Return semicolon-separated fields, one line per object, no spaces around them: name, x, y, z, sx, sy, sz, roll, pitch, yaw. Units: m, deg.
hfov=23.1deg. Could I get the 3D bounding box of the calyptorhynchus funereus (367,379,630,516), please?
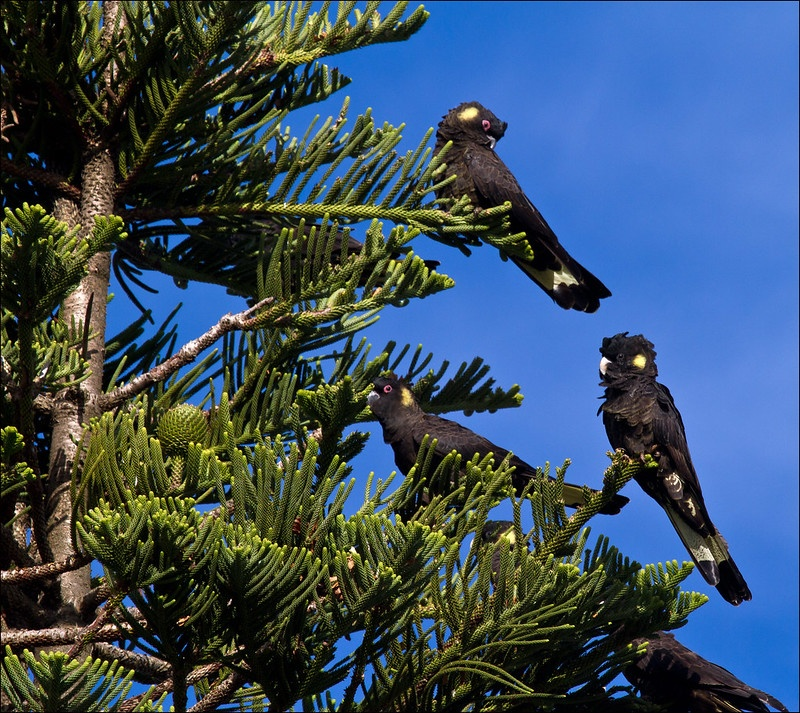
calyptorhynchus funereus;0.354;0.398;8.818;1.132;0.601;0.361;2;1;-25
